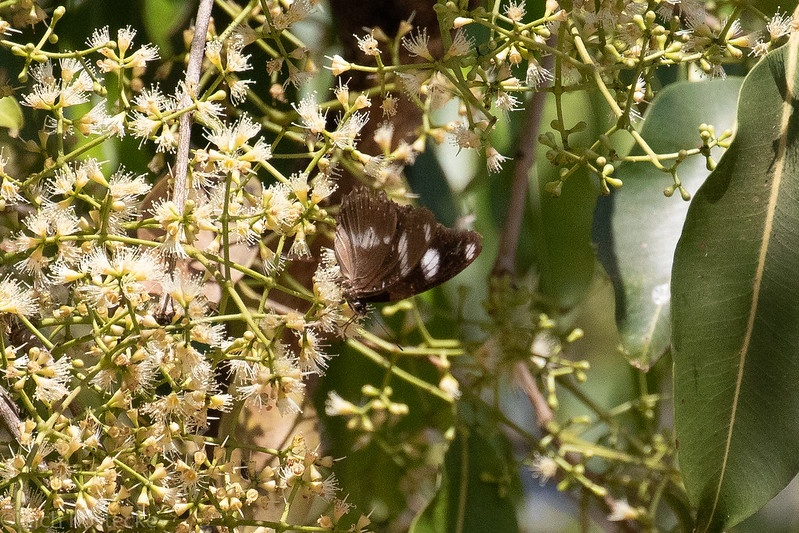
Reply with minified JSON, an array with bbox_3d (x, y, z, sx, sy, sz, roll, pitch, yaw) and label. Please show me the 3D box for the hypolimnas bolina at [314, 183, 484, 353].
[{"bbox_3d":[-0.015,0.001,1.509,0.209,0.149,0.261,-6,-16,-20],"label":"hypolimnas bolina"}]
